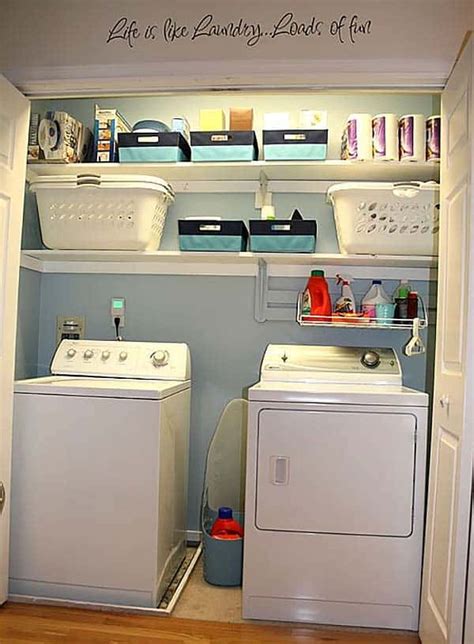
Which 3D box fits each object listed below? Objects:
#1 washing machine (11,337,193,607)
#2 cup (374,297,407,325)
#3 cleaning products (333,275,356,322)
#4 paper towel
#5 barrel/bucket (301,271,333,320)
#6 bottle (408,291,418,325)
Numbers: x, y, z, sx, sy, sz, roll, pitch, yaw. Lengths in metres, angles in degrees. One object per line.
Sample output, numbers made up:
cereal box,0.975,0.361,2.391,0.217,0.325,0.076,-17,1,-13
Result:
washing machine,-0.536,0.610,2.035,0.587,0.940,0.674,2,9,5
cup,0.659,-0.048,2.148,0.137,0.131,0.096,2,-2,-2
cleaning products,0.494,-0.119,2.255,0.093,0.249,0.060,-1,44,8
paper towel,0.645,-0.766,2.055,0.238,0.119,0.259,2,12,5
barrel/bucket,0.358,-0.128,2.252,0.135,0.209,0.288,2,10,8
bottle,0.797,-0.070,2.250,0.046,0.134,0.225,4,10,21
